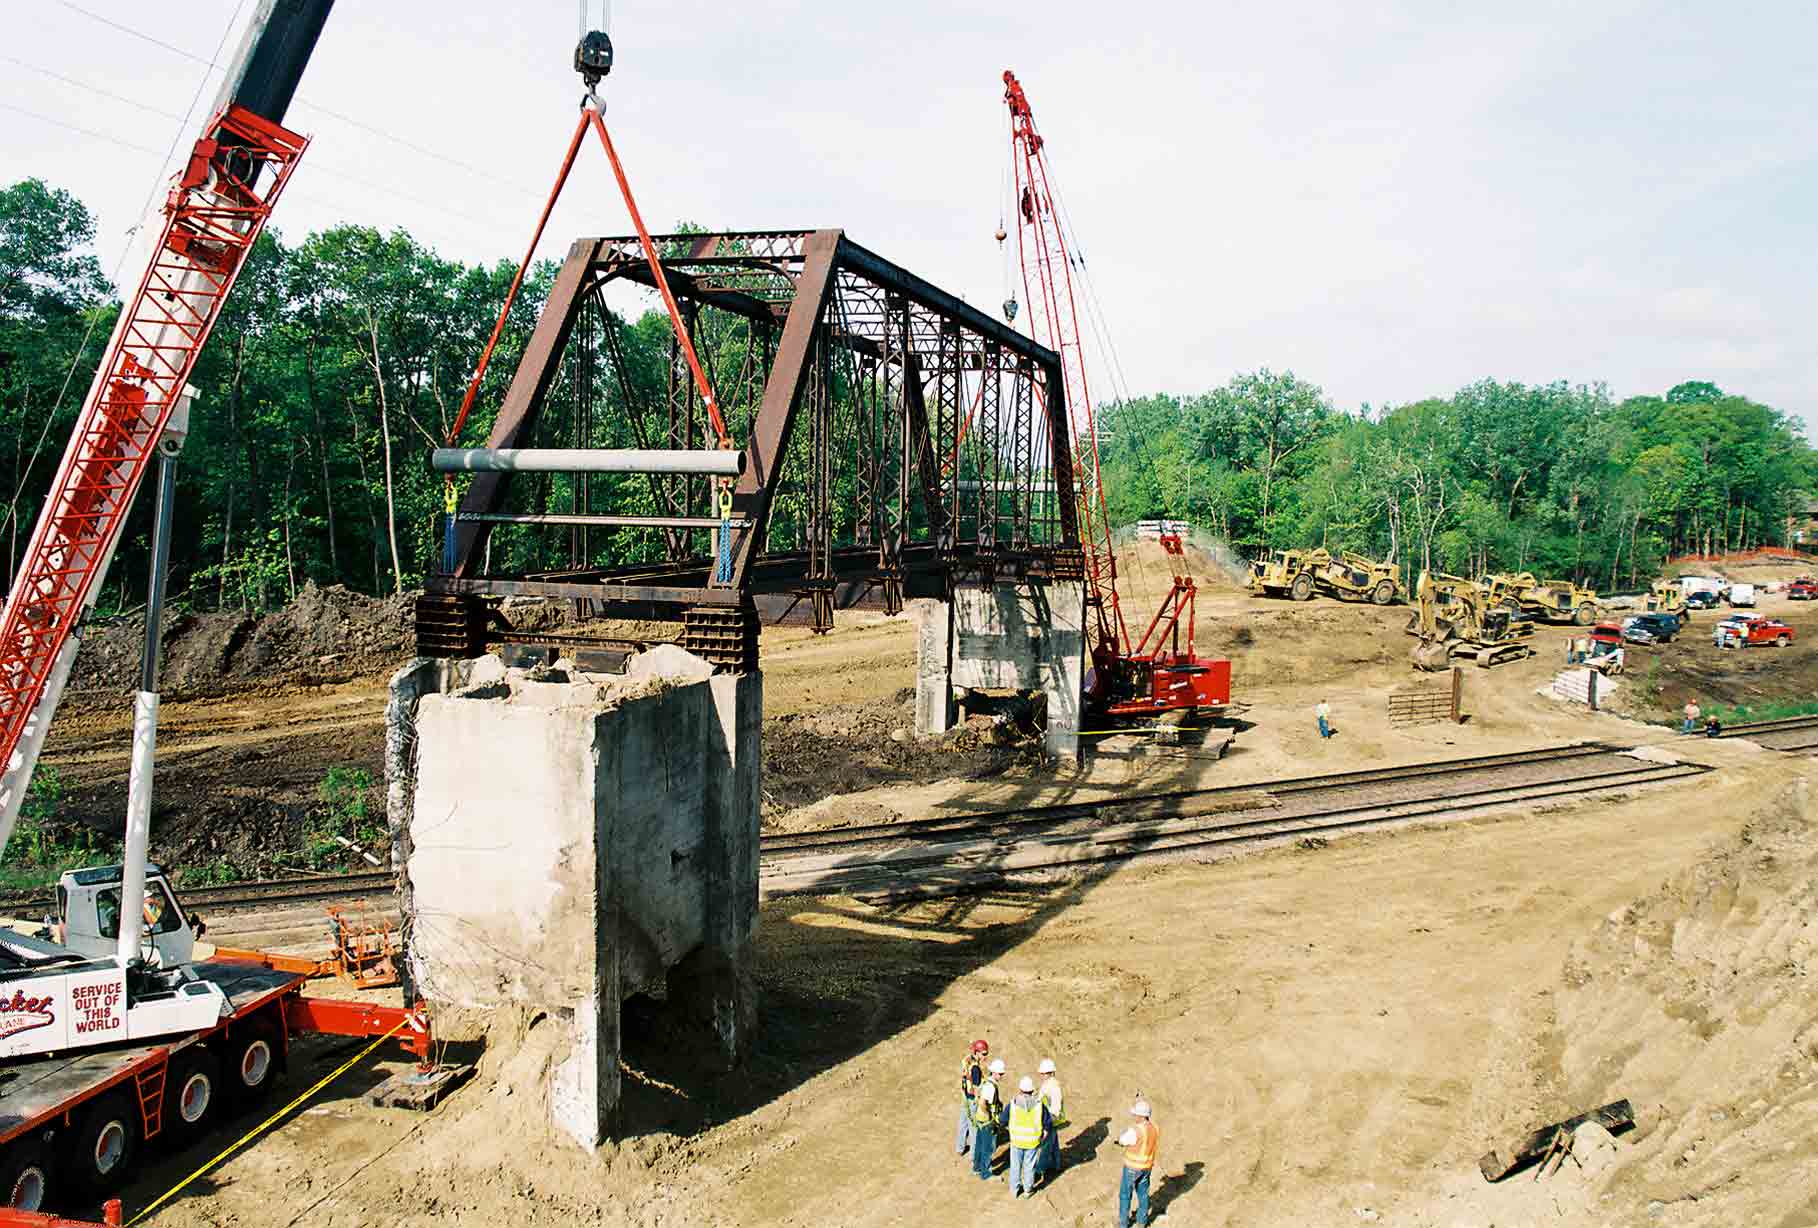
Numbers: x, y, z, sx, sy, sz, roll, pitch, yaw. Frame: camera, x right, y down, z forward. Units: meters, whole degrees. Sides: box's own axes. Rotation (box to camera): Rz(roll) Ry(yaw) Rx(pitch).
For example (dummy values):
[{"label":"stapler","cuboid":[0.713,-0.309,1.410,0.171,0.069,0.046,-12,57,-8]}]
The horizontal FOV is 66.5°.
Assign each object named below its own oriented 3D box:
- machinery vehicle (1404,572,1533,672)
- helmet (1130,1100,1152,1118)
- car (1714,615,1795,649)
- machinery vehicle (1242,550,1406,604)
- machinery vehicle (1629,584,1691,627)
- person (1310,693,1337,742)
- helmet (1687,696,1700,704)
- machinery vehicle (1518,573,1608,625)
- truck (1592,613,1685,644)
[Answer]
[{"label":"machinery vehicle","cuboid":[25.744,0.474,64.719,9.652,5.037,4.003,-7,5,-42]},{"label":"helmet","cuboid":[3.923,8.253,23.360,0.417,0.315,0.573,-2,-10,3]},{"label":"car","cuboid":[41.142,1.205,67.816,3.005,1.094,2.164,-2,12,10]},{"label":"machinery vehicle","cuboid":[21.837,-1.957,72.115,5.441,1.868,3.703,1,8,6]},{"label":"machinery vehicle","cuboid":[41.811,-0.533,77.047,2.260,1.700,3.429,-1,5,38]},{"label":"person","cuboid":[15.331,3.828,51.334,1.004,1.880,0.788,3,21,32]},{"label":"helmet","cuboid":[31.766,3.408,56.196,0.233,0.290,0.692,3,1,42]},{"label":"machinery vehicle","cuboid":[34.638,-0.767,73.709,4.047,1.988,2.751,0,6,7]},{"label":"truck","cuboid":[35.118,0.649,66.398,4.574,1.390,2.678,-5,6,-41]}]
